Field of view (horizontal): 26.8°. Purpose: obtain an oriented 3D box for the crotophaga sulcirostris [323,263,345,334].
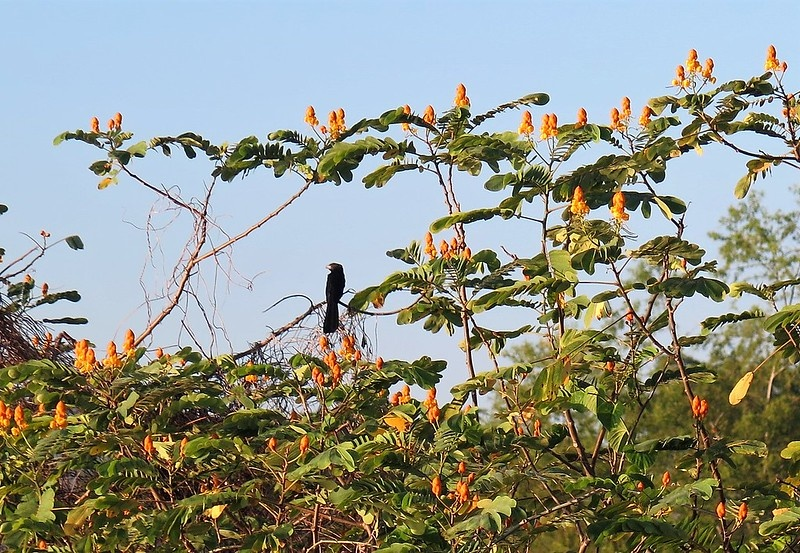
[{"bbox_3d":[-0.600,0.253,15.550,0.285,0.953,0.329,2,-57,-1],"label":"crotophaga sulcirostris"}]
